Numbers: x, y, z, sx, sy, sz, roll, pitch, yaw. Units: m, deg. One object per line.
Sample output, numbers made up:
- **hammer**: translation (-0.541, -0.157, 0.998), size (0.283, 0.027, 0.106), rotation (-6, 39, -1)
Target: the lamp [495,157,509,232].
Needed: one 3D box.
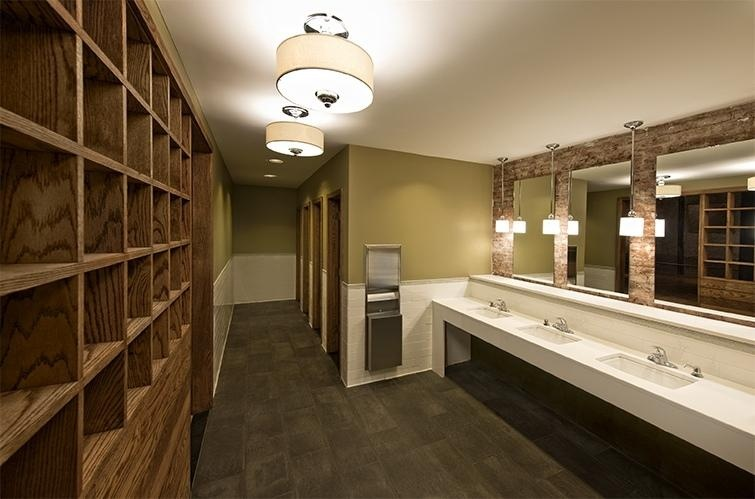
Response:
- **lamp**: translation (1.521, -0.635, 5.453), size (0.147, 0.896, 0.406), rotation (1, 2, 15)

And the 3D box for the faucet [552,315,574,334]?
- **faucet**: translation (1.805, 0.747, 4.408), size (0.108, 0.089, 0.168), rotation (1, -5, -22)

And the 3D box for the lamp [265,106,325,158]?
- **lamp**: translation (-0.716, -1.013, 4.030), size (0.410, 0.356, 0.410), rotation (3, 3, 25)

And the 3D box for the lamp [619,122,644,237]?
- **lamp**: translation (2.336, -0.620, 4.114), size (0.182, 1.027, 0.416), rotation (1, 2, 30)

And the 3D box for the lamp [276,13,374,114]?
- **lamp**: translation (-0.347, -1.214, 3.027), size (0.633, 0.532, 0.620), rotation (5, -7, -41)

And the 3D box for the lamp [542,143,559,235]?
- **lamp**: translation (1.882, -0.627, 4.867), size (0.167, 0.952, 0.378), rotation (1, 2, 20)

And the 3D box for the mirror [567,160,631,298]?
- **mirror**: translation (2.238, -0.215, 4.550), size (0.122, 1.237, 0.630), rotation (-1, 2, -25)

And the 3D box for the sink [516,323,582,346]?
- **sink**: translation (1.625, 0.821, 4.279), size (0.318, 0.136, 0.534), rotation (-1, 2, -34)

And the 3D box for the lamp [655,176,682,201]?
- **lamp**: translation (2.596, -0.542, 4.025), size (0.190, 0.158, 0.193), rotation (0, 1, 43)
